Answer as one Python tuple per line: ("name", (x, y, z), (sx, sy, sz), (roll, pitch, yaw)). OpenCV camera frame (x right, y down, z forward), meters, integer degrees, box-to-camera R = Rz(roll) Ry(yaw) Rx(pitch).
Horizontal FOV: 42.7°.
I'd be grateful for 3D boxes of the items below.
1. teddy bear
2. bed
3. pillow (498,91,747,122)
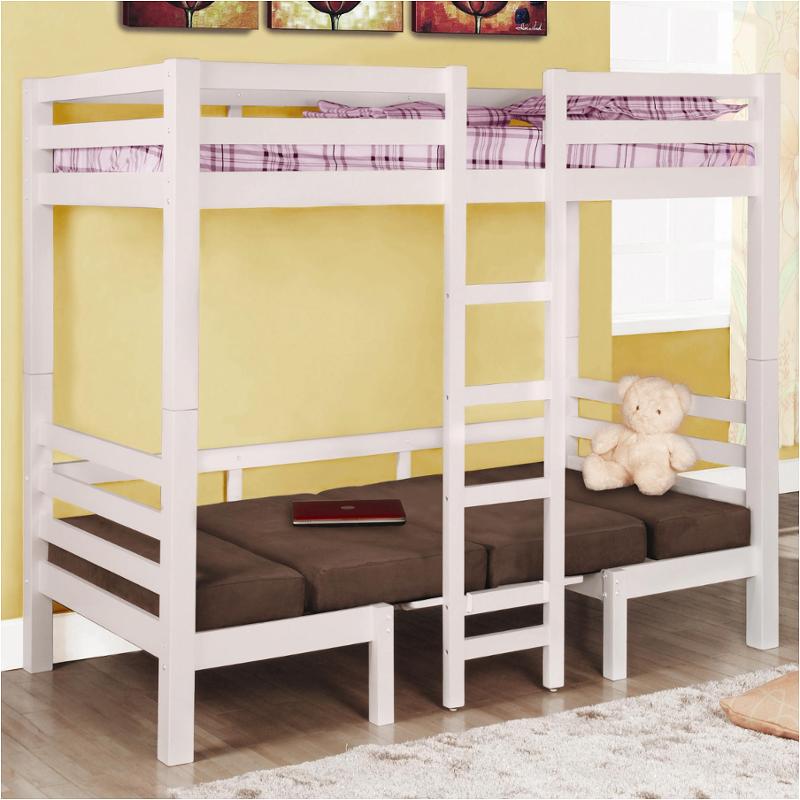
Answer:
("teddy bear", (0.812, 0.121, 3.393), (0.380, 0.363, 0.310), (8, 19, 31))
("bed", (0.001, -0.090, 3.031), (1.907, 1.763, 1.093), (-3, 4, -32))
("pillow", (0.776, -0.869, 3.068), (0.503, 0.055, 0.341), (0, 6, -12))
